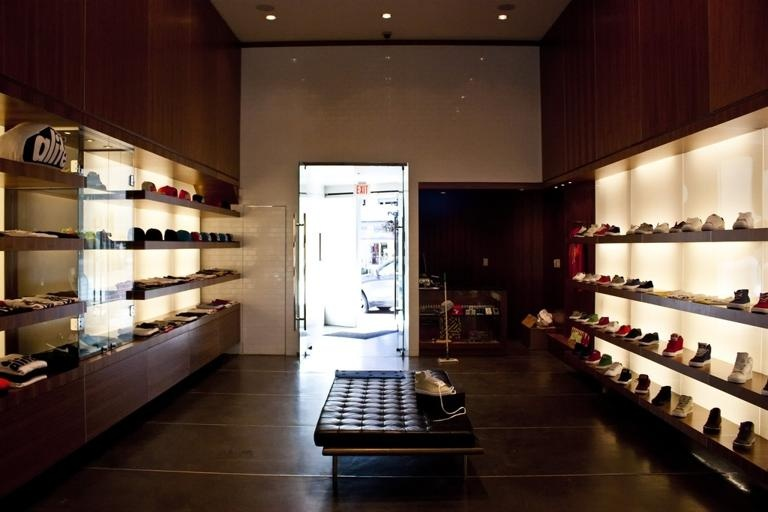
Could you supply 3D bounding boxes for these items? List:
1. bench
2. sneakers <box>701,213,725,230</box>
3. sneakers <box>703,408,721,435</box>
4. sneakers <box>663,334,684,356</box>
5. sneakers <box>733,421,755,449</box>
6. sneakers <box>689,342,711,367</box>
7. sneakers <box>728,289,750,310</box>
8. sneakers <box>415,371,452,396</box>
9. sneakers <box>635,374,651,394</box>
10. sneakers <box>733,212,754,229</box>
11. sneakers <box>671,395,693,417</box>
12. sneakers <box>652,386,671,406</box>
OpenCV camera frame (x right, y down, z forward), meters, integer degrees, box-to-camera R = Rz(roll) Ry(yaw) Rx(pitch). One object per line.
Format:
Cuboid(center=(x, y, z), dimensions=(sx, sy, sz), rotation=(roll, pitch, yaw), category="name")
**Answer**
Cuboid(center=(0.132, 1.727, 6.195), dimensions=(1.681, 0.915, 1.425), rotation=(-1, 12, -3), category="bench")
Cuboid(center=(3.472, -0.353, 5.992), dimensions=(0.120, 0.141, 0.329), rotation=(-3, -3, 39), category="sneakers")
Cuboid(center=(3.320, 1.693, 5.767), dimensions=(0.112, 0.146, 0.343), rotation=(-9, -12, 40), category="sneakers")
Cuboid(center=(3.227, 1.008, 6.345), dimensions=(0.369, 0.220, 0.135), rotation=(6, -8, -44), category="sneakers")
Cuboid(center=(3.531, 1.731, 5.575), dimensions=(0.168, 0.235, 0.313), rotation=(8, 14, 35), category="sneakers")
Cuboid(center=(3.363, 1.052, 6.079), dimensions=(0.308, 0.205, 0.161), rotation=(-11, 16, -43), category="sneakers")
Cuboid(center=(3.543, 0.426, 5.693), dimensions=(0.184, 0.162, 0.264), rotation=(7, 14, 31), category="sneakers")
Cuboid(center=(0.543, 1.371, 6.066), dimensions=(0.468, 0.202, 0.170), rotation=(-1, -2, 18), category="sneakers")
Cuboid(center=(2.979, 1.504, 6.578), dimensions=(0.112, 0.148, 0.335), rotation=(-4, -6, 22), category="sneakers")
Cuboid(center=(3.585, -0.354, 5.682), dimensions=(0.170, 0.160, 0.295), rotation=(7, 14, 32), category="sneakers")
Cuboid(center=(3.177, 1.616, 6.076), dimensions=(0.121, 0.165, 0.361), rotation=(-9, -14, 38), category="sneakers")
Cuboid(center=(3.083, 1.577, 6.314), dimensions=(0.286, 0.178, 0.121), rotation=(-1, -2, -12), category="sneakers")
